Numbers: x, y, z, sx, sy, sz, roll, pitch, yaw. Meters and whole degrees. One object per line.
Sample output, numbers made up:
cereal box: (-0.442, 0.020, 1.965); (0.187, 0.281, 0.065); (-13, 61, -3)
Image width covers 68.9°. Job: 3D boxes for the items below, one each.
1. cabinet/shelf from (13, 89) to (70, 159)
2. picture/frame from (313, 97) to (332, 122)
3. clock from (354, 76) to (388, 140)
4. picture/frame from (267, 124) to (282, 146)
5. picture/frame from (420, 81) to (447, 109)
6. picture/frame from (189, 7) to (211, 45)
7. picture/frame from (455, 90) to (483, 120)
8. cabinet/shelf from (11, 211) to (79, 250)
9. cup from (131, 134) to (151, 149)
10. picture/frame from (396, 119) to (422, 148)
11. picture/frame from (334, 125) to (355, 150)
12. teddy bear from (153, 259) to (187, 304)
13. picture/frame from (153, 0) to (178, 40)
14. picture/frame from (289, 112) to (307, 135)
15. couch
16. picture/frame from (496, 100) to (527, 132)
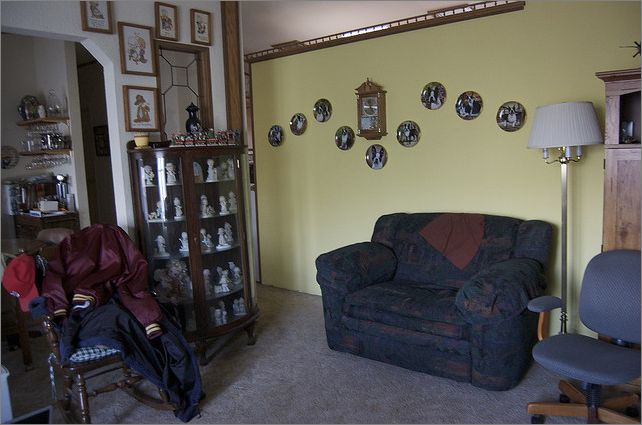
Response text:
cabinet/shelf: (-3.542, -1.107, 5.942); (0.965, 0.900, 0.342); (-1, -2, 43)
picture/frame: (0.016, -1.243, 5.606); (0.298, 0.329, 0.038); (3, 5, 35)
clock: (0.566, -1.150, 5.219); (0.340, 0.665, 0.161); (-3, 11, 8)
picture/frame: (-0.589, -0.984, 5.958); (0.225, 0.240, 0.058); (8, 3, 29)
picture/frame: (1.189, -1.245, 4.922); (0.318, 0.335, 0.046); (2, 5, 34)
picture/frame: (-1.192, -1.845, 4.646); (0.250, 0.332, 0.043); (-13, 14, -40)
picture/frame: (1.512, -1.105, 4.762); (0.318, 0.337, 0.046); (5, 7, 44)
cabinet/shelf: (-3.504, 0.139, 5.794); (0.845, 0.303, 0.418); (-2, 10, 14)
cup: (-1.640, -0.654, 4.288); (0.142, 0.141, 0.140); (0, -2, 0)
picture/frame: (0.963, -0.872, 5.089); (0.321, 0.344, 0.047); (1, 10, 39)
picture/frame: (0.278, -0.891, 5.487); (0.304, 0.320, 0.042); (3, 5, 37)
teddy bear: (-1.408, 0.622, 4.305); (0.411, 0.393, 0.287); (-4, 4, -44)
picture/frame: (-1.472, -1.829, 4.466); (0.055, 0.341, 0.256); (6, 14, 45)
picture/frame: (-0.291, -1.103, 5.791); (0.248, 0.249, 0.060); (42, 24, 26)
couch: (1.131, 0.726, 4.672); (2.134, 1.353, 1.379); (2, 12, 40)
picture/frame: (1.874, -0.956, 4.586); (0.314, 0.325, 0.045); (-7, 2, 36)
